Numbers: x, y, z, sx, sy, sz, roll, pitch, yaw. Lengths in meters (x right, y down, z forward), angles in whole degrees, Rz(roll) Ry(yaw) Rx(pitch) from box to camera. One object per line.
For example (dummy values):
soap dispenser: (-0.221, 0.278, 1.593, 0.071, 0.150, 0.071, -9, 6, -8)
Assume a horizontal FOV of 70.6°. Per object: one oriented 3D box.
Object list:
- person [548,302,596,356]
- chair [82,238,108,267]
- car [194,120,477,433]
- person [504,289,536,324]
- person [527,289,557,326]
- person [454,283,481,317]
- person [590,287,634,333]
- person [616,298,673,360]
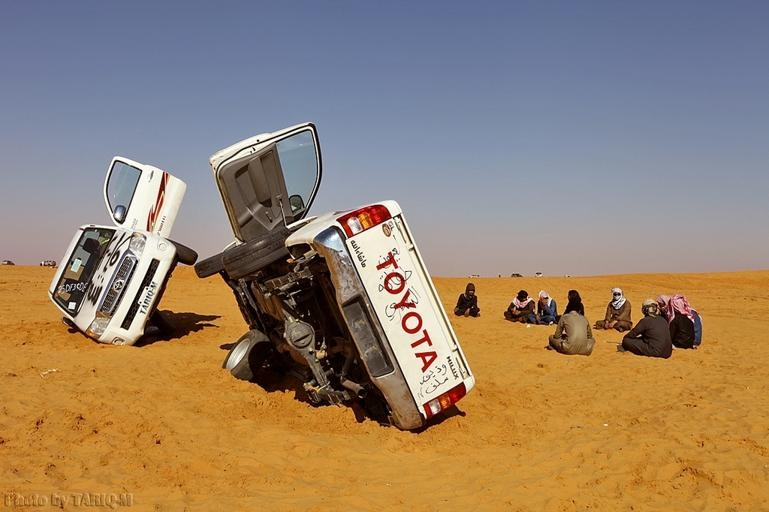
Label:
person: (4.297, 1.761, 12.935, 1.281, 1.378, 0.965, 8, -13, 9)
chair: (-6.569, -0.092, 12.313, 0.475, 0.674, 0.229, -1, 0, 13)
car: (-0.882, 0.026, 9.747, 3.661, 3.572, 5.760, -21, 27, -20)
person: (4.225, 1.524, 16.600, 0.822, 0.922, 0.884, -4, 7, -39)
person: (4.850, 1.529, 16.393, 1.015, 1.107, 1.065, 1, 3, -18)
person: (3.044, 1.625, 19.952, 1.102, 1.126, 0.781, 2, 11, -1)
person: (6.551, 1.514, 15.320, 1.024, 1.106, 0.987, -1, -4, -13)
person: (6.246, 1.613, 12.486, 1.442, 1.264, 0.860, -10, 8, -9)
